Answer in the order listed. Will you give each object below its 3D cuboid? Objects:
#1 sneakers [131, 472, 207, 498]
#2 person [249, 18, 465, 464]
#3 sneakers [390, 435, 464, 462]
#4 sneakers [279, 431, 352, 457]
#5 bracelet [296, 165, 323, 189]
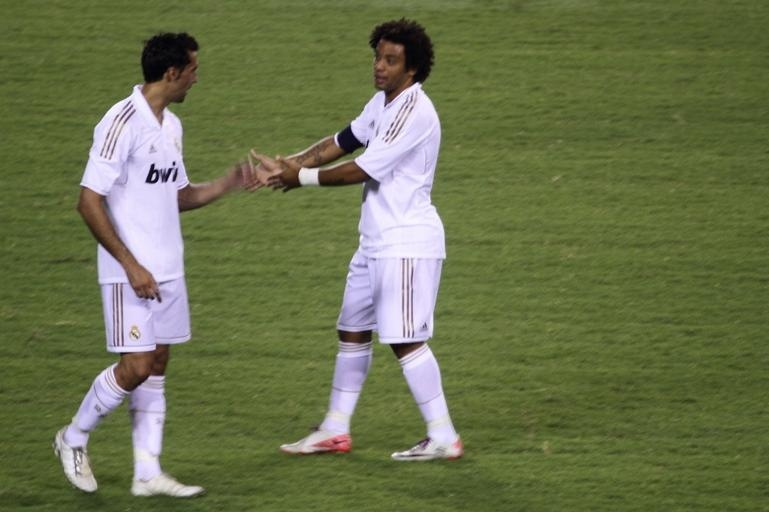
[{"bbox_3d":[-1.397,1.508,11.792,0.519,0.128,0.151,0,-1,-2],"label":"sneakers"},{"bbox_3d":[-0.050,-0.125,12.063,1.183,2.849,1.406,0,20,-18],"label":"person"},{"bbox_3d":[0.322,1.298,12.084,0.551,0.143,0.163,0,-1,-7],"label":"sneakers"},{"bbox_3d":[-0.416,1.260,12.141,0.543,0.148,0.160,0,-7,-3],"label":"sneakers"},{"bbox_3d":[-0.485,-0.518,12.149,0.174,0.091,0.113,-1,7,-4],"label":"bracelet"}]
